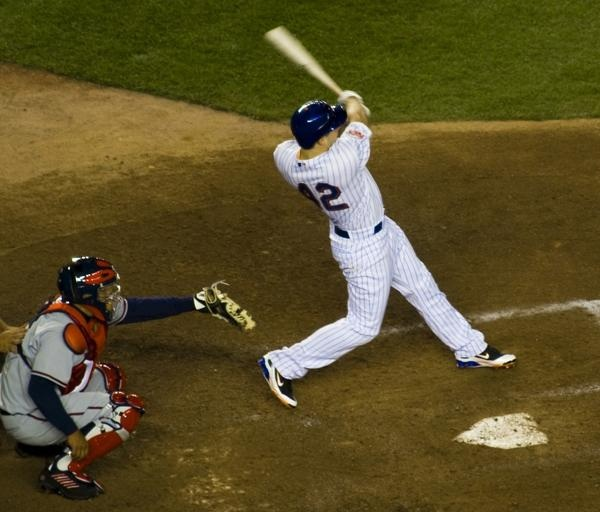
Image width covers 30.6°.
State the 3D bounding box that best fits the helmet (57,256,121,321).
[{"bbox_3d":[-1.504,0.231,7.952,0.615,0.440,0.423,-1,15,-25],"label":"helmet"}]

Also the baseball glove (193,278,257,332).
[{"bbox_3d":[-0.598,0.417,8.793,0.797,0.207,0.323,22,-4,1],"label":"baseball glove"}]

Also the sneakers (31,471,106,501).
[{"bbox_3d":[-1.629,1.643,7.867,0.451,0.161,0.186,4,16,2],"label":"sneakers"}]

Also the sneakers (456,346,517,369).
[{"bbox_3d":[1.501,0.825,8.879,0.553,0.172,0.167,-3,9,8],"label":"sneakers"}]
